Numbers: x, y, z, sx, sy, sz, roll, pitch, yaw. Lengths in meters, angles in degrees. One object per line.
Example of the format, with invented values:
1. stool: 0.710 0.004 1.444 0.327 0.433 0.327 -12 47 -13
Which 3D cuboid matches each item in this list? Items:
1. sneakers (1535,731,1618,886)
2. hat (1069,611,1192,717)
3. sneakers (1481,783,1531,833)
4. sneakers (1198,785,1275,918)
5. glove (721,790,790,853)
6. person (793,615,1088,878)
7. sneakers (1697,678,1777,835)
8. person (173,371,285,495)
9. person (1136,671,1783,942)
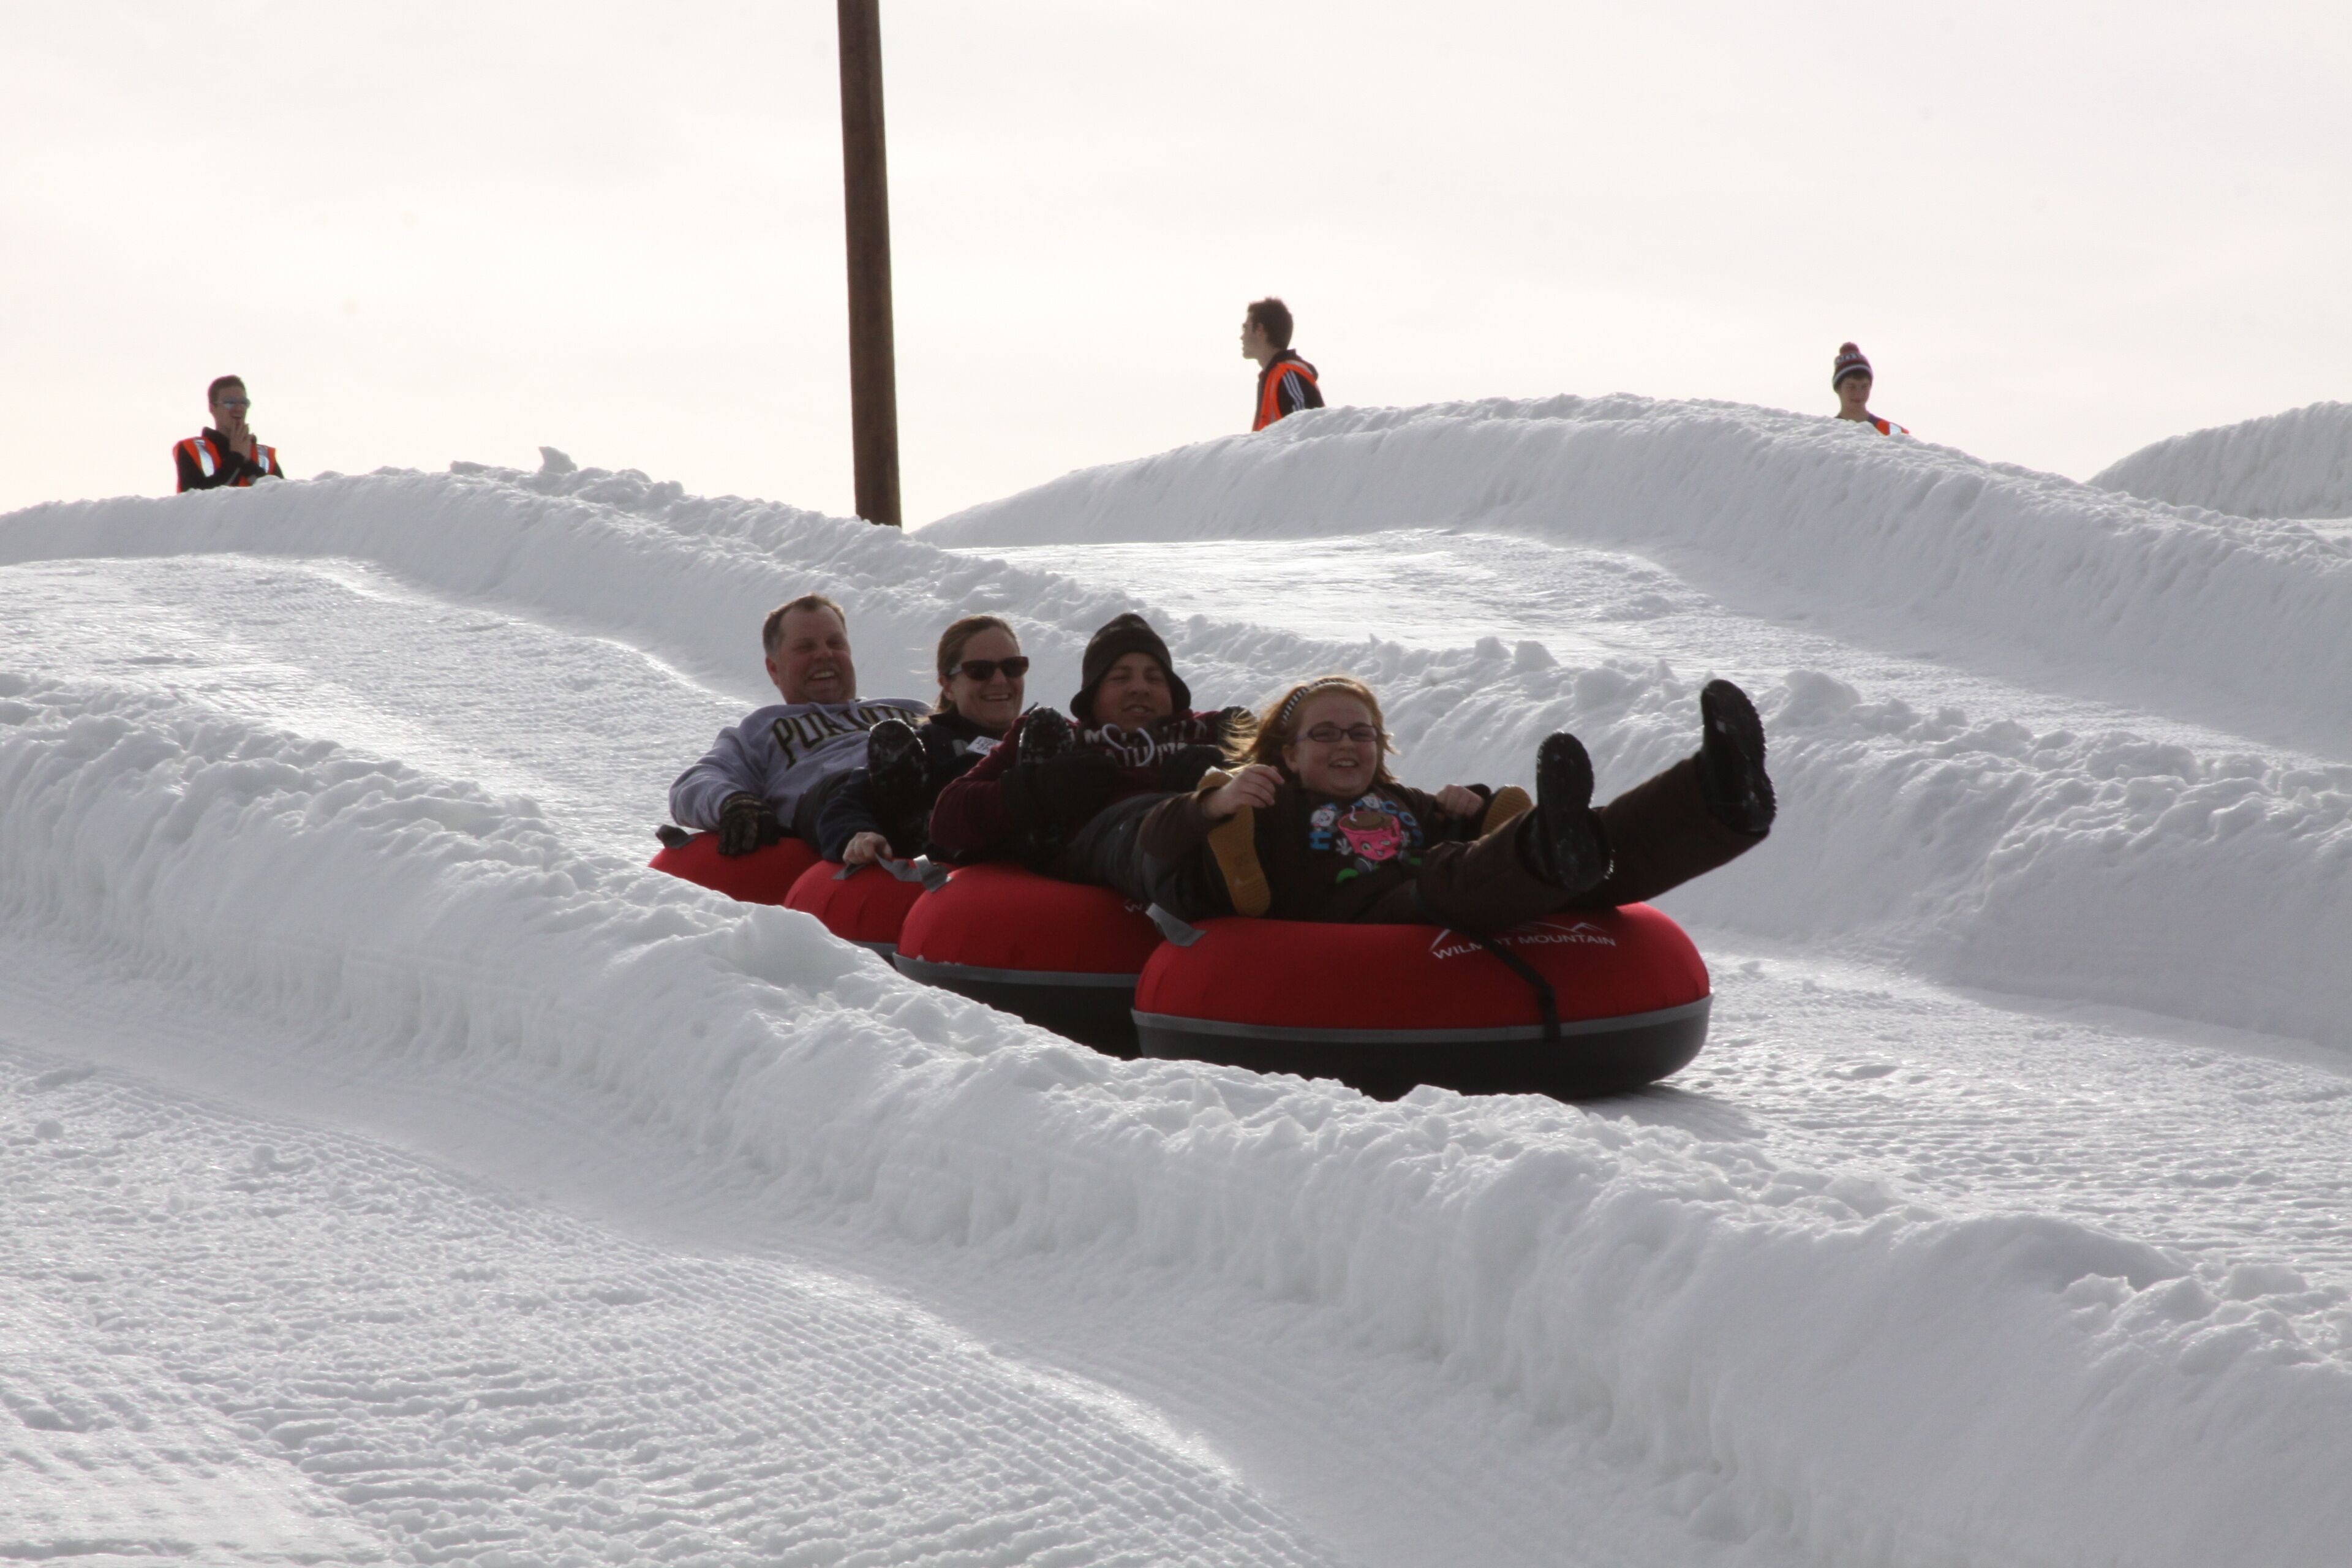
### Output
1. sneakers: 0.882 0.059 5.619 0.140 0.356 0.167 -13 13 -21
2. hat: -0.119 -0.372 7.114 0.306 0.272 0.316 2 -33 -16
3. sneakers: 0.801 0.057 6.175 0.128 0.100 0.196 1 0 3
4. sneakers: 0.146 0.165 6.230 0.200 0.300 0.078 1 -12 -1
5. glove: -1.234 0.109 7.482 0.120 0.172 0.231 8 6 24
6. person: -0.695 -0.095 7.560 0.765 0.529 1.695 19 1 5
7. sneakers: 1.247 -0.058 5.646 0.175 0.348 0.289 7 6 13
8. person: -5.522 -1.939 14.842 0.646 0.846 0.508 2 -11 -28
9. person: 0.646 0.043 6.058 1.520 0.717 0.655 10 7 42
